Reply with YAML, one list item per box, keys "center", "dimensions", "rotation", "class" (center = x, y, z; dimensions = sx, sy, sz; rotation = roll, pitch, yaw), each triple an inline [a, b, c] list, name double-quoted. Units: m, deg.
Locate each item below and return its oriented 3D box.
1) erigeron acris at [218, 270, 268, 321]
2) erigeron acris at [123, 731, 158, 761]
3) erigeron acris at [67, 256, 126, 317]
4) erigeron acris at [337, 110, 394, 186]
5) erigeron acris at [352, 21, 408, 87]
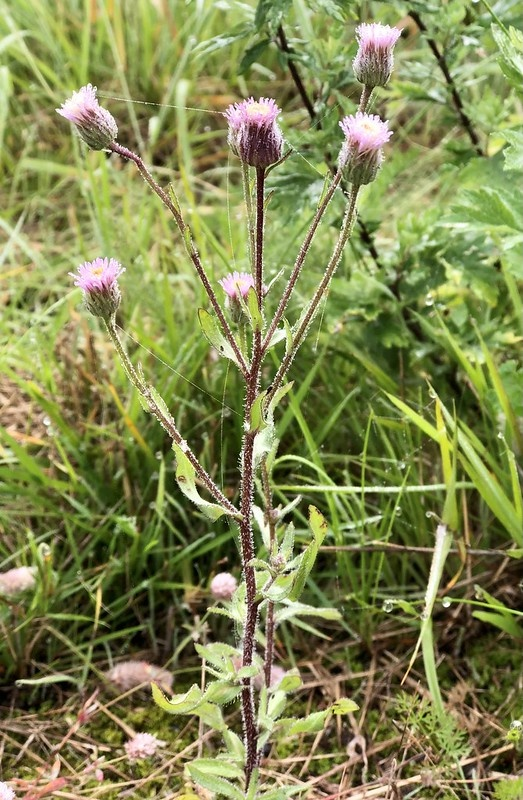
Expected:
- center: [-0.029, -0.125, 0.901]
  dimensions: [0.049, 0.048, 0.050]
  rotation: [34, 3, 24]
  class: "erigeron acris"
- center: [-0.196, 0.569, 1.166]
  dimensions: [0.051, 0.041, 0.038]
  rotation: [-12, 43, -9]
  class: "erigeron acris"
- center: [-0.203, -0.133, 0.889]
  dimensions: [0.056, 0.068, 0.064]
  rotation: [-18, 15, -35]
  class: "erigeron acris"
- center: [0.116, -0.281, 0.838]
  dimensions: [0.055, 0.062, 0.055]
  rotation: [12, 4, 18]
  class: "erigeron acris"
- center: [0.135, -0.411, 0.861]
  dimensions: [0.049, 0.065, 0.052]
  rotation: [8, 20, 19]
  class: "erigeron acris"
